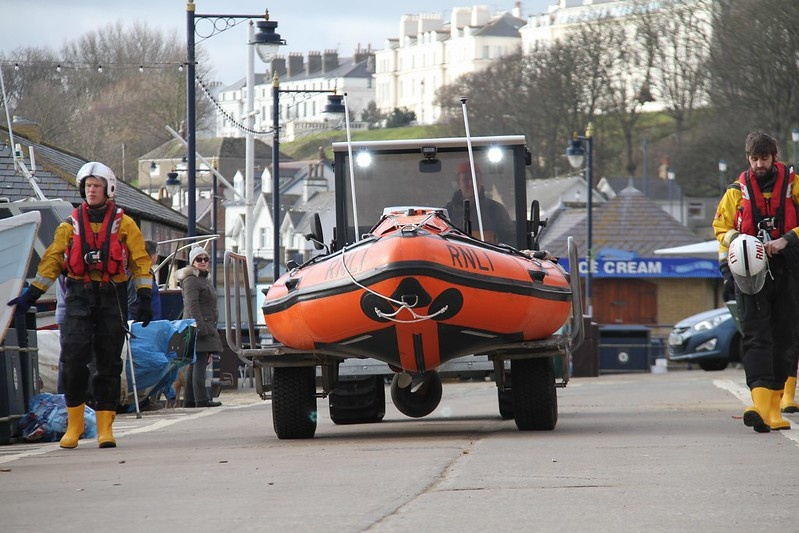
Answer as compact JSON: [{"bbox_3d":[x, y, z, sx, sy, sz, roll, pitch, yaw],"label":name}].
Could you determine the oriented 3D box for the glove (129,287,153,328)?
[{"bbox_3d":[-2.998,0.445,16.892,0.379,0.546,0.168,-10,-17,40],"label":"glove"}]

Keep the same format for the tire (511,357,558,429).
[{"bbox_3d":[1.432,1.332,15.617,0.335,0.744,0.820,-5,4,11],"label":"tire"}]

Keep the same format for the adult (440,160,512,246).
[{"bbox_3d":[1.001,-0.753,17.212,1.085,0.868,0.310,2,-2,-3],"label":"adult"}]

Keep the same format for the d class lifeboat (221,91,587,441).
[{"bbox_3d":[0.338,0.201,16.885,3.159,2.551,5.011,-1,0,2],"label":"d class lifeboat"}]

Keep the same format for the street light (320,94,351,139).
[{"bbox_3d":[-1.459,-3.483,34.759,0.811,1.340,0.458,-7,31,-14],"label":"street light"}]

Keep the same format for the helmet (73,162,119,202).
[{"bbox_3d":[-3.216,-0.922,15.443,0.389,0.348,0.473,2,10,9],"label":"helmet"}]

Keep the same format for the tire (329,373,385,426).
[{"bbox_3d":[-0.494,1.585,17.291,0.486,0.700,0.737,-5,24,14],"label":"tire"}]

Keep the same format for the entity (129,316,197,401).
[{"bbox_3d":[-3.326,1.208,20.128,1.025,1.173,0.539,1,5,-16],"label":"entity"}]

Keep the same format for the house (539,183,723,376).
[{"bbox_3d":[7.937,-0.201,47.610,5.813,4.627,5.383,0,-3,5],"label":"house"}]

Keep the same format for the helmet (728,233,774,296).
[{"bbox_3d":[3.533,-0.006,14.919,0.469,0.555,0.537,-6,-23,18],"label":"helmet"}]

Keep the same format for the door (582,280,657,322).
[{"bbox_3d":[6.812,1.089,45.352,2.460,1.448,0.218,0,-4,-15],"label":"door"}]

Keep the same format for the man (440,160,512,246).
[{"bbox_3d":[0.981,-0.779,17.210,1.085,0.868,0.310,2,-2,-3],"label":"man"}]

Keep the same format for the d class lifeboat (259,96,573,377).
[{"bbox_3d":[0.249,-0.395,16.134,3.368,2.898,3.640,-3,3,6],"label":"d class lifeboat"}]

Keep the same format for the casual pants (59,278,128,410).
[{"bbox_3d":[-3.188,0.821,15.258,0.727,1.424,0.351,-4,4,-11],"label":"casual pants"}]

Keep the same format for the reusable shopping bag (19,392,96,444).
[{"bbox_3d":[-3.954,1.679,16.396,0.551,0.228,0.706,3,4,-39],"label":"reusable shopping bag"}]

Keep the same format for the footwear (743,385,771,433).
[{"bbox_3d":[3.658,1.446,14.856,0.217,0.551,0.408,-5,42,22],"label":"footwear"}]
